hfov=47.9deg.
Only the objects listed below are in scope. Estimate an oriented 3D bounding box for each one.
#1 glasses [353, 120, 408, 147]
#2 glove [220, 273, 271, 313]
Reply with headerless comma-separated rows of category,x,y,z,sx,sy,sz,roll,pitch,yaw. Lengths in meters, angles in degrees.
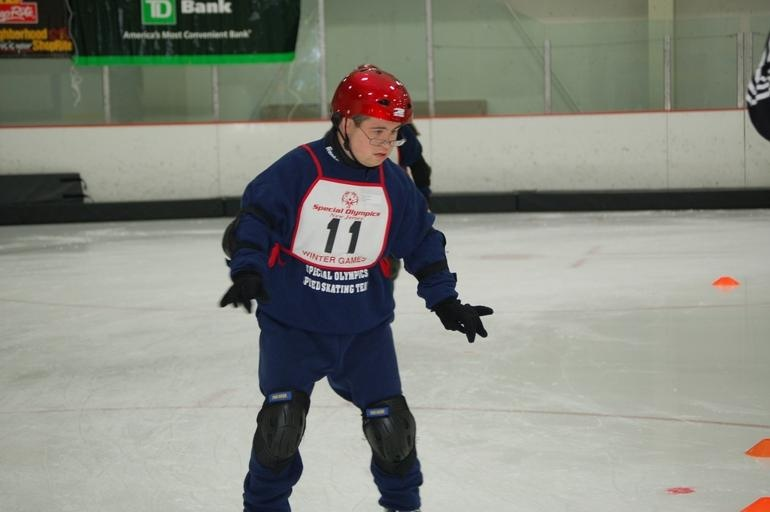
glasses,0.003,-0.485,3.373,0.226,0.107,0.111,-9,14,-33
glove,-0.510,0.135,3.231,0.151,0.153,0.067,13,-2,-3
